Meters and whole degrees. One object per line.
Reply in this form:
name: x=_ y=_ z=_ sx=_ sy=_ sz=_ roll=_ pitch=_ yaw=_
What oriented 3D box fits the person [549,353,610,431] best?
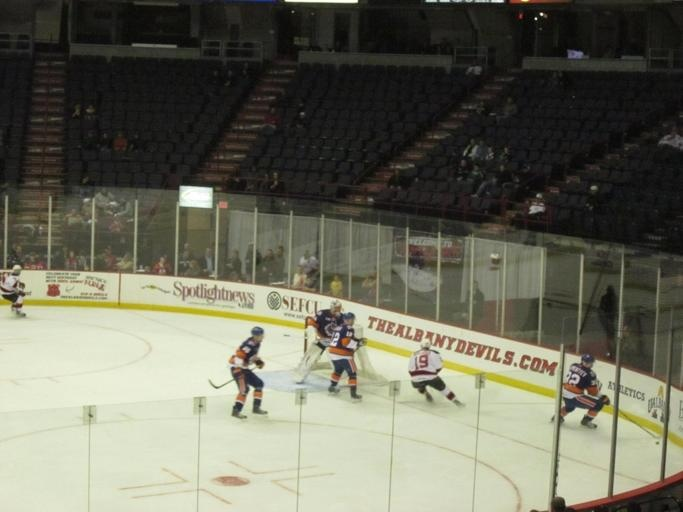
person: x=4.987 y=2.860 z=26.537 sx=1.158 sy=1.777 sz=1.093 roll=-9 pitch=26 yaw=-25

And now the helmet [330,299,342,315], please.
helmet: x=-0.148 y=1.186 z=29.694 sx=0.330 sy=0.294 sz=0.243 roll=13 pitch=-2 yaw=-43

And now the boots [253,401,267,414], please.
boots: x=-1.545 y=2.832 z=23.945 sx=0.290 sy=0.232 sz=0.298 roll=3 pitch=0 yaw=-25

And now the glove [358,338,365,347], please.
glove: x=0.483 y=1.967 z=29.177 sx=0.118 sy=0.146 sz=0.144 roll=-1 pitch=-4 yaw=-8

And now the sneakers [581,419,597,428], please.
sneakers: x=5.101 y=3.464 z=26.420 sx=0.332 sy=0.209 sz=0.122 roll=2 pitch=1 yaw=1

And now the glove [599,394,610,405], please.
glove: x=5.484 y=2.996 z=26.654 sx=0.211 sy=0.214 sz=0.360 roll=4 pitch=0 yaw=12

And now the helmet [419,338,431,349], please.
helmet: x=1.869 y=1.923 z=27.958 sx=0.292 sy=0.260 sz=0.212 roll=0 pitch=-2 yaw=-31
